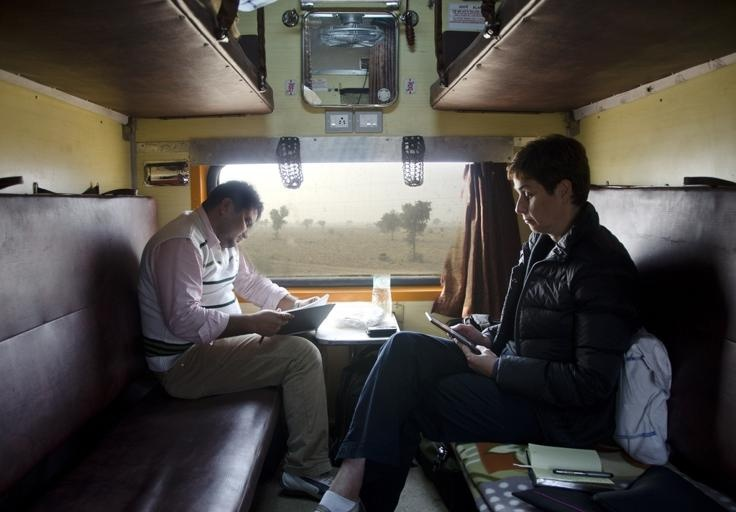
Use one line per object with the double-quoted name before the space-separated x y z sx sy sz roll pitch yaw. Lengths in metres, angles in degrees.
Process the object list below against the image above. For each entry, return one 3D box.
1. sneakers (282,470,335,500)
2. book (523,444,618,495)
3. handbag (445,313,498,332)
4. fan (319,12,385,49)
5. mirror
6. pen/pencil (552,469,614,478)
"sneakers" -0.296 1.309 2.991 0.378 0.147 0.124 -1 -4 -1
"book" 0.888 0.927 2.282 0.357 0.095 0.218 3 7 11
"handbag" 0.695 0.408 3.243 0.208 0.080 0.149 3 2 -21
"fan" -0.115 -1.601 3.612 0.420 0.223 0.311 1 7 -6
"mirror" -0.134 -1.459 3.725 0.752 0.749 0.058 0 17 -1
"pen/pencil" 0.920 0.942 2.252 0.231 0.025 0.027 2 21 5
